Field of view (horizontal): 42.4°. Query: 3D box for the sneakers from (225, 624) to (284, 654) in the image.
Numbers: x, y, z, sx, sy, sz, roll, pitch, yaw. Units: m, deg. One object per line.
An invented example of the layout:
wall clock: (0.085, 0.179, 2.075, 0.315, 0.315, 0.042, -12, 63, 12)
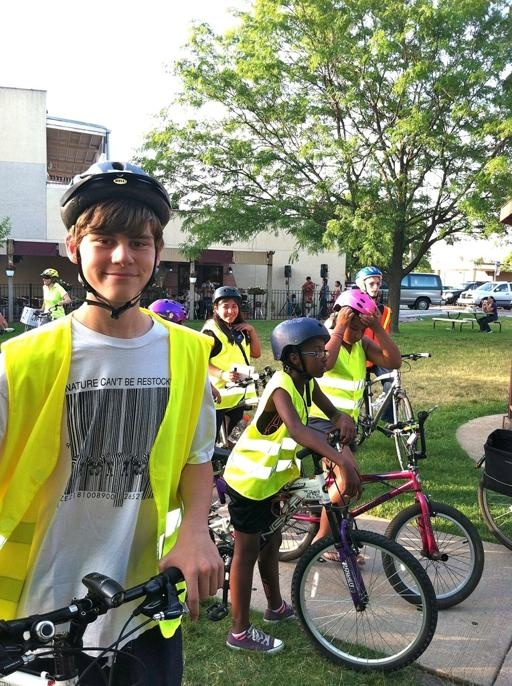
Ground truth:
sneakers: (-0.007, 1.553, 3.468, 0.312, 0.114, 0.111, 1, 1, 1)

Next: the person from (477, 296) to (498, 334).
person: (9.064, -1.121, 25.826, 0.680, 1.270, 1.786, 5, 7, 20)

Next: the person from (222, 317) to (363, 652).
person: (0.199, 0.739, 3.486, 0.731, 1.719, 0.717, 7, 9, 33)

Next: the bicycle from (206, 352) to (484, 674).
bicycle: (0.173, 1.132, 4.059, 2.159, 1.197, 1.059, -5, 0, 32)

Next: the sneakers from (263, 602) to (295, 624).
sneakers: (0.143, 1.532, 3.771, 0.209, 0.086, 0.080, 6, -9, -45)

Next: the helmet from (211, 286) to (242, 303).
helmet: (-0.268, -0.439, 6.003, 0.211, 0.147, 0.153, -13, -13, 28)

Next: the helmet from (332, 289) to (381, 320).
helmet: (0.708, -0.308, 4.786, 0.283, 0.237, 0.208, 16, 21, 21)

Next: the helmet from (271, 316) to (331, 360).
helmet: (0.224, -0.034, 3.530, 0.278, 0.189, 0.215, 9, 13, 23)
